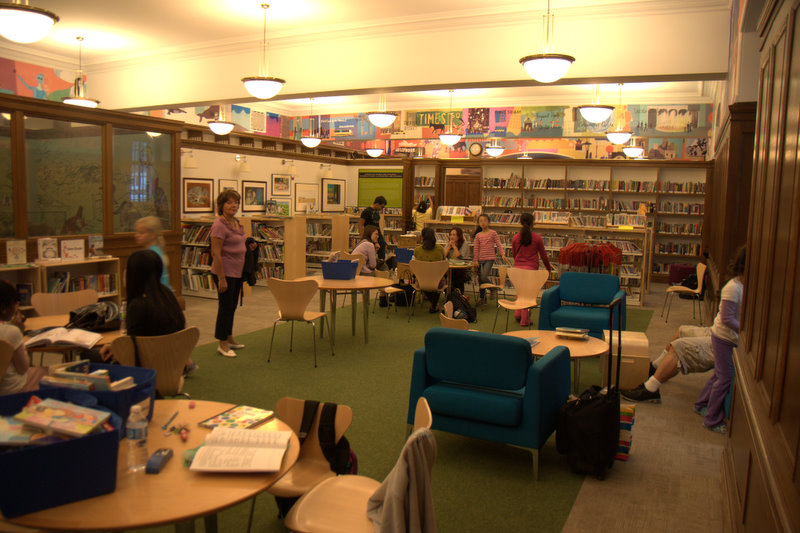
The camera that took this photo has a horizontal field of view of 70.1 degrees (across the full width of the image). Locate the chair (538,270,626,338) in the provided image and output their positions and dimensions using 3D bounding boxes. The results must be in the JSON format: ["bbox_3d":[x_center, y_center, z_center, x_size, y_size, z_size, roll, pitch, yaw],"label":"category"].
[{"bbox_3d":[2.399,0.502,7.617,1.160,1.111,0.875,1,0,25],"label":"chair"}]

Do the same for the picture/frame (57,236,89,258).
[{"bbox_3d":[-4.521,-0.247,7.877,0.297,0.074,0.322,15,34,-21],"label":"picture/frame"}]

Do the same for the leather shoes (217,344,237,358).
[{"bbox_3d":[-2.207,1.075,7.261,0.256,0.093,0.128,0,0,39],"label":"leather shoes"}]

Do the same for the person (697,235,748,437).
[{"bbox_3d":[3.103,0.684,5.509,0.285,1.787,0.590,3,8,21],"label":"person"}]

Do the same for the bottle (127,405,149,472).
[{"bbox_3d":[-1.459,0.943,3.169,0.101,0.310,0.197,-4,8,-27],"label":"bottle"}]

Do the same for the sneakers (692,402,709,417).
[{"bbox_3d":[3.103,1.476,5.880,0.091,0.124,0.050,25,-19,39],"label":"sneakers"}]

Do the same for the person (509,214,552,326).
[{"bbox_3d":[2.153,0.025,9.537,0.655,1.765,0.649,7,16,28],"label":"person"}]

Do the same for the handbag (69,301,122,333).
[{"bbox_3d":[-2.850,0.478,5.372,0.275,0.140,0.393,6,10,18],"label":"handbag"}]

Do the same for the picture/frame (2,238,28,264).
[{"bbox_3d":[-4.967,-0.196,7.340,0.043,0.437,0.328,-7,-2,36],"label":"picture/frame"}]

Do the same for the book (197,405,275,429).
[{"bbox_3d":[-1.033,0.963,3.623,0.313,0.045,0.389,5,9,30],"label":"book"}]

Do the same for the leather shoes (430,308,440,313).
[{"bbox_3d":[0.638,0.769,10.031,0.096,0.118,0.286,-2,-5,20],"label":"leather shoes"}]

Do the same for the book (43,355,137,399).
[{"bbox_3d":[-1.814,0.604,3.359,0.275,0.101,0.286,3,1,16],"label":"book"}]

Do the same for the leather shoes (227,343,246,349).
[{"bbox_3d":[-2.140,1.041,7.481,0.141,0.049,0.077,-1,1,-21],"label":"leather shoes"}]

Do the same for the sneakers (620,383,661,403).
[{"bbox_3d":[2.600,1.372,6.162,0.394,0.181,0.181,3,-1,17],"label":"sneakers"}]

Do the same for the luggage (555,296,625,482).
[{"bbox_3d":[1.592,1.289,4.813,0.490,0.886,0.357,3,8,20],"label":"luggage"}]

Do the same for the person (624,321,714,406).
[{"bbox_3d":[3.069,1.047,6.255,1.241,0.411,0.802,-22,-10,12],"label":"person"}]

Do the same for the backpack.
[{"bbox_3d":[-0.577,1.383,3.840,0.552,0.959,0.498,0,8,-2],"label":"backpack"}]
